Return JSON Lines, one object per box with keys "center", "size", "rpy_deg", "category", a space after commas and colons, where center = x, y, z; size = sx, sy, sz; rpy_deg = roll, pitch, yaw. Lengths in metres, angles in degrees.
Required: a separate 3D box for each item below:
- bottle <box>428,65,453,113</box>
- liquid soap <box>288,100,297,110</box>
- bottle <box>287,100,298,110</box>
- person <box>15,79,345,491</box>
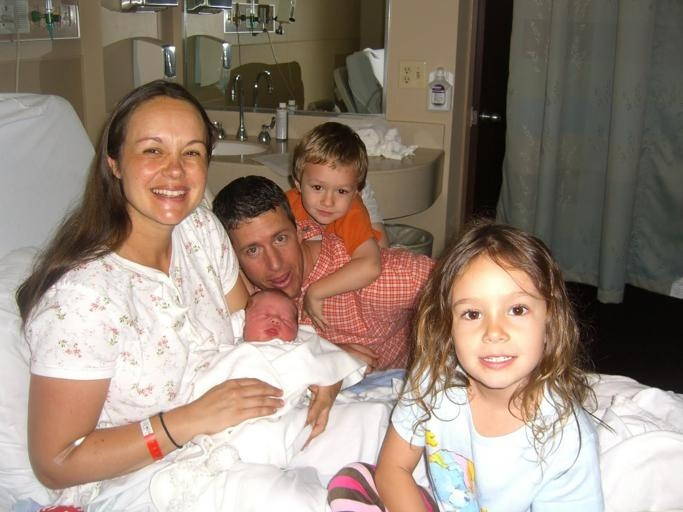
{"center": [0.577, -0.970, 3.173], "size": [0.133, 0.240, 0.228], "rpy_deg": [3, 5, 12], "category": "bottle"}
{"center": [-0.317, -0.980, 3.524], "size": [0.051, 0.060, 0.053], "rpy_deg": [0, 16, 7], "category": "liquid soap"}
{"center": [-0.320, -0.978, 3.524], "size": [0.057, 0.086, 0.056], "rpy_deg": [-1, 10, 0], "category": "bottle"}
{"center": [-0.506, -0.031, 1.726], "size": [0.883, 1.221, 0.898], "rpy_deg": [14, 20, 16], "category": "person"}
